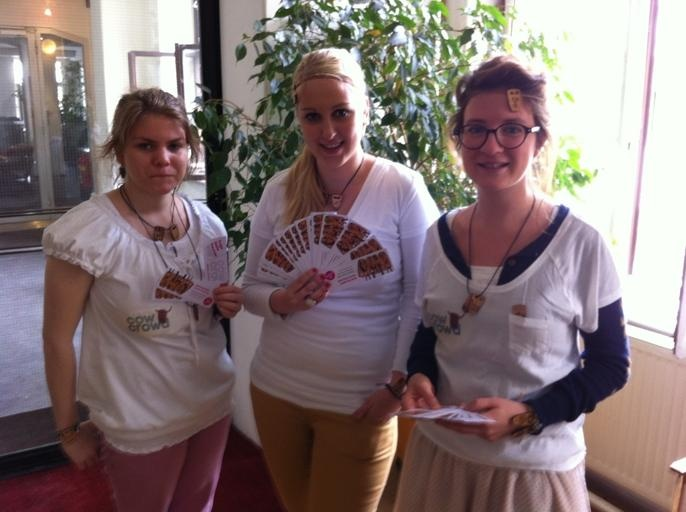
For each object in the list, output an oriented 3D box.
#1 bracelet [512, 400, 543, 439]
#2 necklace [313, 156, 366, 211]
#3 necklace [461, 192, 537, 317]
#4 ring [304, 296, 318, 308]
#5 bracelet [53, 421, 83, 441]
[{"bbox_3d":[0.476,0.425,1.337,0.054,0.093,0.033,42,21,-33],"label":"bracelet"},{"bbox_3d":[-0.012,-0.255,1.727,0.120,0.198,0.050,7,14,20],"label":"necklace"},{"bbox_3d":[0.446,0.012,1.452,0.131,0.442,0.033,15,-17,37],"label":"necklace"},{"bbox_3d":[-0.107,0.152,1.670,0.030,0.024,0.031,6,0,0],"label":"ring"},{"bbox_3d":[-0.924,0.590,1.733,0.038,0.073,0.055,28,26,-43],"label":"bracelet"}]
